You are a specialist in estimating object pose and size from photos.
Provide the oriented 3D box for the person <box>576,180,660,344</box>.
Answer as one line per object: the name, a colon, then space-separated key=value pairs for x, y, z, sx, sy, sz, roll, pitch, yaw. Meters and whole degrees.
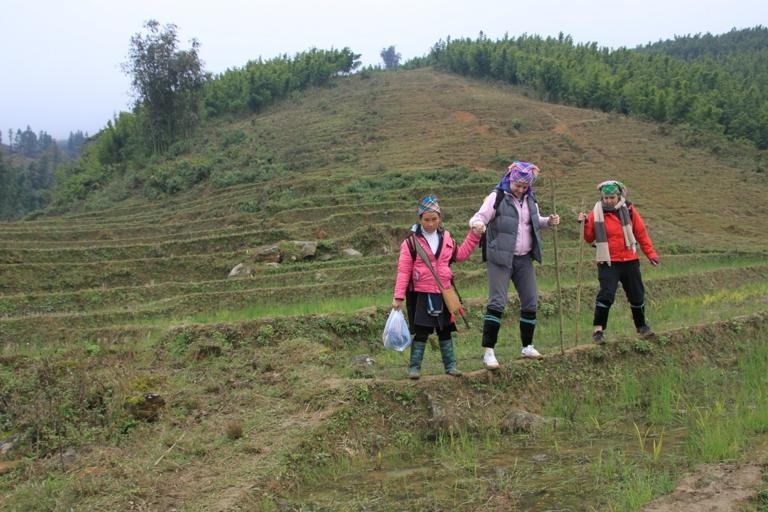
person: x=4.475 y=0.093 z=12.537 sx=1.241 sy=3.019 sz=0.547 roll=-4 pitch=6 yaw=-12

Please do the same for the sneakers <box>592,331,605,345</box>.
sneakers: x=4.100 y=1.546 z=12.503 sx=0.140 sy=0.168 sz=0.357 roll=2 pitch=7 yaw=10

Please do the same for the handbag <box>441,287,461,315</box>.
handbag: x=1.161 y=0.789 z=11.415 sx=0.314 sy=0.476 sz=0.209 roll=-2 pitch=6 yaw=11

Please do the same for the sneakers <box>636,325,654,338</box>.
sneakers: x=5.058 y=1.467 z=12.631 sx=0.137 sy=0.157 sz=0.359 roll=-5 pitch=-16 yaw=-2
